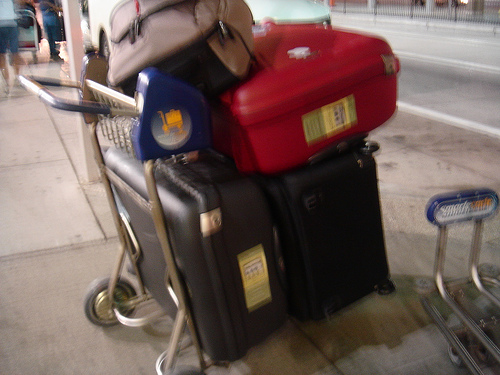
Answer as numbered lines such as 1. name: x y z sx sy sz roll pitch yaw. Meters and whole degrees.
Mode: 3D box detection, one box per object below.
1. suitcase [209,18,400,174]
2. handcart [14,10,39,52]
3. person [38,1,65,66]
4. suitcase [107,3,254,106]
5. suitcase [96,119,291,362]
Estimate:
1. suitcase: 0.211 -0.498 2.053 0.946 0.464 0.974 -32 31 -27
2. handcart: -3.255 -2.248 5.649 0.300 0.567 1.146 -18 29 -26
3. person: -1.932 -1.514 3.839 0.173 0.554 0.745 -16 28 -23
4. suitcase: -0.282 -0.531 1.589 0.446 0.459 0.431 17 33 35
5. suitcase: -0.262 0.196 1.872 0.505 1.154 0.790 -21 29 -31
